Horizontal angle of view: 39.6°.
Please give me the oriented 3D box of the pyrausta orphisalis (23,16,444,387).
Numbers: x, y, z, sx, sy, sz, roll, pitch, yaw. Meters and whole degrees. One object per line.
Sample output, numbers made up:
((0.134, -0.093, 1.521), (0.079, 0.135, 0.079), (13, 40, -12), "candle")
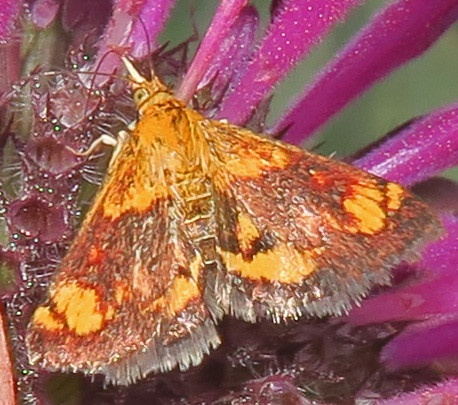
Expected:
((-0.066, 0.046, 0.852), (0.456, 0.255, 0.420), (39, 44, 18), "pyrausta orphisalis")
